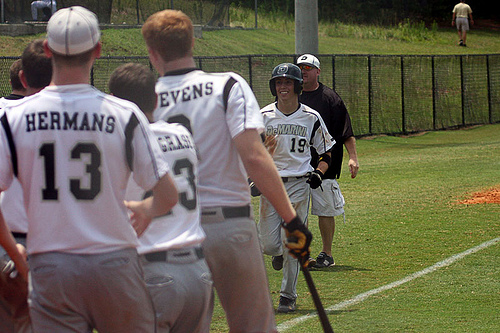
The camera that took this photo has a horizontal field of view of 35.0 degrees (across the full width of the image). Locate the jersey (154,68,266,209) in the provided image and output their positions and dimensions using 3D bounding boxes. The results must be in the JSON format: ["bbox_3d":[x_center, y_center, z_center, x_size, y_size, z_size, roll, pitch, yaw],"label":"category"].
[{"bbox_3d":[-0.255,-0.142,6.546,0.474,1.323,1.220,-6,-6,-39],"label":"jersey"}]

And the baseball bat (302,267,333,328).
[{"bbox_3d":[0.676,1.342,8.052,0.115,0.831,0.136,-21,14,20],"label":"baseball bat"}]

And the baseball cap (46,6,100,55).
[{"bbox_3d":[-1.278,-0.981,5.742,0.281,0.226,0.387,0,45,-8],"label":"baseball cap"}]

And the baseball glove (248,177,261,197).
[{"bbox_3d":[0.036,0.179,7.082,0.106,0.124,0.193,-31,13,-2],"label":"baseball glove"}]

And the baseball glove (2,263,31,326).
[{"bbox_3d":[-1.765,0.953,5.976,0.172,0.433,0.313,-11,-5,0],"label":"baseball glove"}]

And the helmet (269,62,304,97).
[{"bbox_3d":[0.397,-0.982,8.887,0.334,0.319,0.386,-2,-4,15],"label":"helmet"}]

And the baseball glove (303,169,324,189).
[{"bbox_3d":[0.698,0.151,8.773,0.167,0.222,0.096,-15,43,-29],"label":"baseball glove"}]

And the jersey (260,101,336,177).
[{"bbox_3d":[0.438,-0.318,9.046,1.031,0.851,0.384,2,8,11],"label":"jersey"}]
